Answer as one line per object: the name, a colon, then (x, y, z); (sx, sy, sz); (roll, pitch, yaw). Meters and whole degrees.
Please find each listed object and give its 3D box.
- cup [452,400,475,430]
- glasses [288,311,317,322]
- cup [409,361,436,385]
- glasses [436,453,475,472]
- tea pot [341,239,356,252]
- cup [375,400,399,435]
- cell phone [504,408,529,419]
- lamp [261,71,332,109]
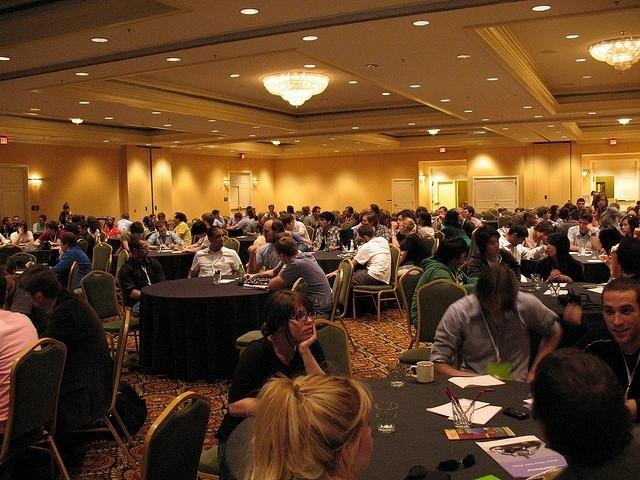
cup: (0.634, 0.776, 2.028); (0.111, 0.119, 0.117); (0, -5, 0)
glasses: (-0.087, 0.412, 2.426); (0.047, 0.060, 0.195); (1, 1, 31)
cup: (0.576, 0.734, 2.523); (0.147, 0.096, 0.095); (-4, -3, 27)
glasses: (0.512, 0.820, 1.678); (0.176, 0.033, 0.077); (1, 1, -17)
tea pot: (0.562, 0.130, 8.667); (0.291, 0.292, 0.169); (-2, -3, 38)
cup: (0.289, 0.785, 2.007); (0.111, 0.115, 0.110); (0, -4, 0)
cell phone: (0.902, 0.789, 2.071); (0.108, 0.016, 0.110); (1, 0, 22)
lamp: (-0.455, -2.924, 8.924); (1.333, 0.470, 1.310); (-2, 5, -1)
